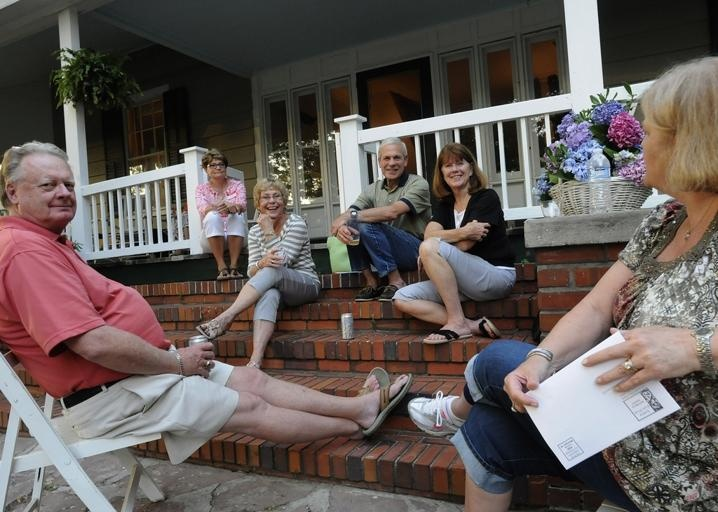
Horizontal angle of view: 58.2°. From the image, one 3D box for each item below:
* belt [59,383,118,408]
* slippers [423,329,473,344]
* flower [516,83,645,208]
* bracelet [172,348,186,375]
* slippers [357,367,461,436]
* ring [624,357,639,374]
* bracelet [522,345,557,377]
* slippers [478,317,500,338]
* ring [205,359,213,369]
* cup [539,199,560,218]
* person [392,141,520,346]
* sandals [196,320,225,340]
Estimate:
[{"bbox_3d":[-1.381,0.703,3.244,0.157,0.042,0.176,-20,3,43],"label":"belt"},{"bbox_3d":[0.544,0.522,4.148,0.268,0.063,0.122,0,-1,-26],"label":"slippers"},{"bbox_3d":[1.572,-0.612,4.056,0.776,0.610,0.776,-16,11,4],"label":"flower"},{"bbox_3d":[-0.943,0.559,3.369,0.039,0.106,0.095,-9,18,-42],"label":"bracelet"},{"bbox_3d":[0.300,0.846,3.530,0.466,0.173,0.305,16,38,21],"label":"slippers"},{"bbox_3d":[1.029,0.418,2.453,0.046,0.027,0.037,38,-7,16],"label":"ring"},{"bbox_3d":[0.756,0.443,2.719,0.087,0.052,0.085,34,6,35],"label":"bracelet"},{"bbox_3d":[0.834,0.479,4.186,0.052,0.156,0.091,-38,-22,0],"label":"slippers"},{"bbox_3d":[-0.830,0.604,3.575,0.037,0.046,0.049,1,10,-6],"label":"ring"},{"bbox_3d":[1.314,-0.329,4.463,0.184,0.142,0.168,0,7,0],"label":"cup"},{"bbox_3d":[0.650,-0.092,4.599,0.832,1.411,0.677,3,-9,-38],"label":"person"},{"bbox_3d":[-1.096,0.547,4.810,0.122,0.095,0.225,41,9,13],"label":"sandals"}]
